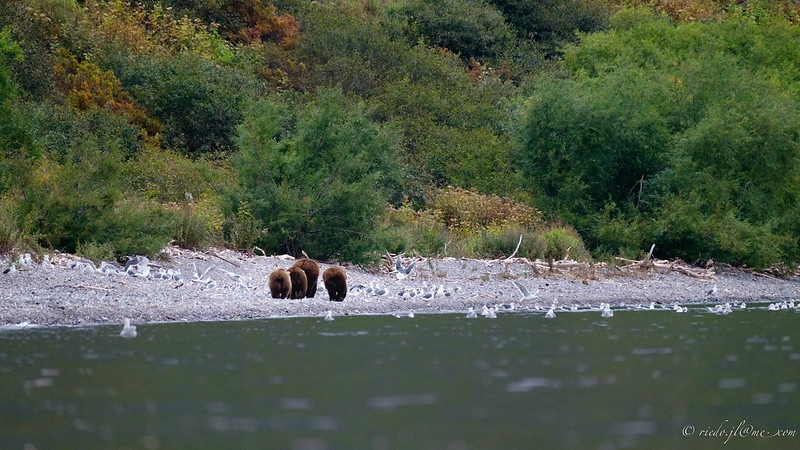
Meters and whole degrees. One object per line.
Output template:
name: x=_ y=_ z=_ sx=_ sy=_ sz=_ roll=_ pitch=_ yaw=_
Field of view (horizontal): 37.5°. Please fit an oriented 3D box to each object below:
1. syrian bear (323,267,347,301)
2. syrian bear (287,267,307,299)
syrian bear: x=-2.442 y=2.229 z=44.376 sx=1.011 sy=1.099 sz=0.791 roll=9 pitch=20 yaw=-4
syrian bear: x=-3.950 y=2.051 z=44.804 sx=0.746 sy=1.138 sz=1.655 roll=-3 pitch=15 yaw=-6
